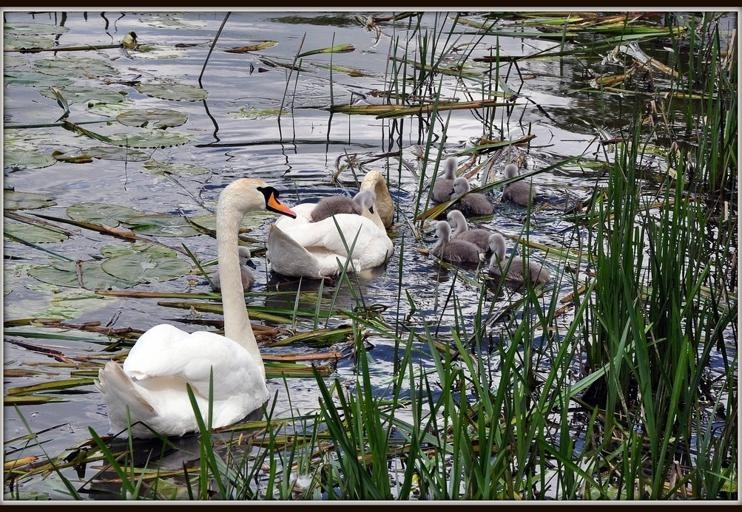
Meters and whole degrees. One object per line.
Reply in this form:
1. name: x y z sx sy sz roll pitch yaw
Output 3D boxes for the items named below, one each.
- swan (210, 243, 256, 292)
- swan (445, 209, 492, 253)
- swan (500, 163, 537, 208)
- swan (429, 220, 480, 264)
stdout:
1. swan: -1.630 0.162 8.451 0.475 0.502 0.698 -5 21 -13
2. swan: 1.183 -0.303 9.635 0.717 0.427 0.397 15 31 35
3. swan: 2.073 -0.956 10.655 0.453 0.592 0.786 -3 8 -18
4. swan: 0.958 -0.150 9.217 0.404 0.495 0.671 -4 8 -24
